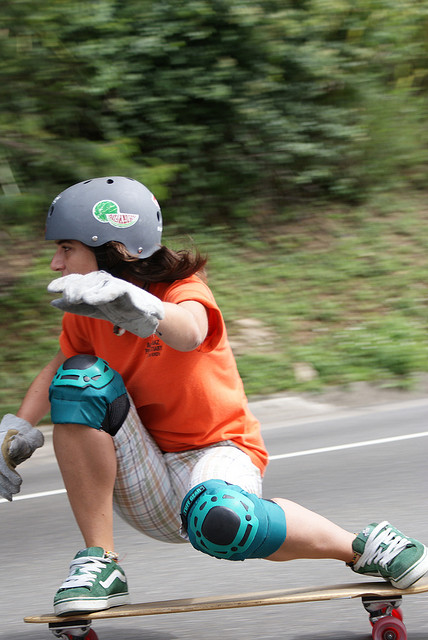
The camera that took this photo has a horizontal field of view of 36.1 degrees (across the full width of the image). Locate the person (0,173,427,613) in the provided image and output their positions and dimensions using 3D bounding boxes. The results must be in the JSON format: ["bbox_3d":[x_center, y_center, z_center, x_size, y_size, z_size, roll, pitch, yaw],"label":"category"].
[{"bbox_3d":[-0.120,0.218,1.995,0.888,1.217,1.138,-12,25,-32],"label":"person"}]

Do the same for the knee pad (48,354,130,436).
[{"bbox_3d":[-0.386,0.212,2.003,0.216,0.200,0.249,-1,6,15],"label":"knee pad"}]
